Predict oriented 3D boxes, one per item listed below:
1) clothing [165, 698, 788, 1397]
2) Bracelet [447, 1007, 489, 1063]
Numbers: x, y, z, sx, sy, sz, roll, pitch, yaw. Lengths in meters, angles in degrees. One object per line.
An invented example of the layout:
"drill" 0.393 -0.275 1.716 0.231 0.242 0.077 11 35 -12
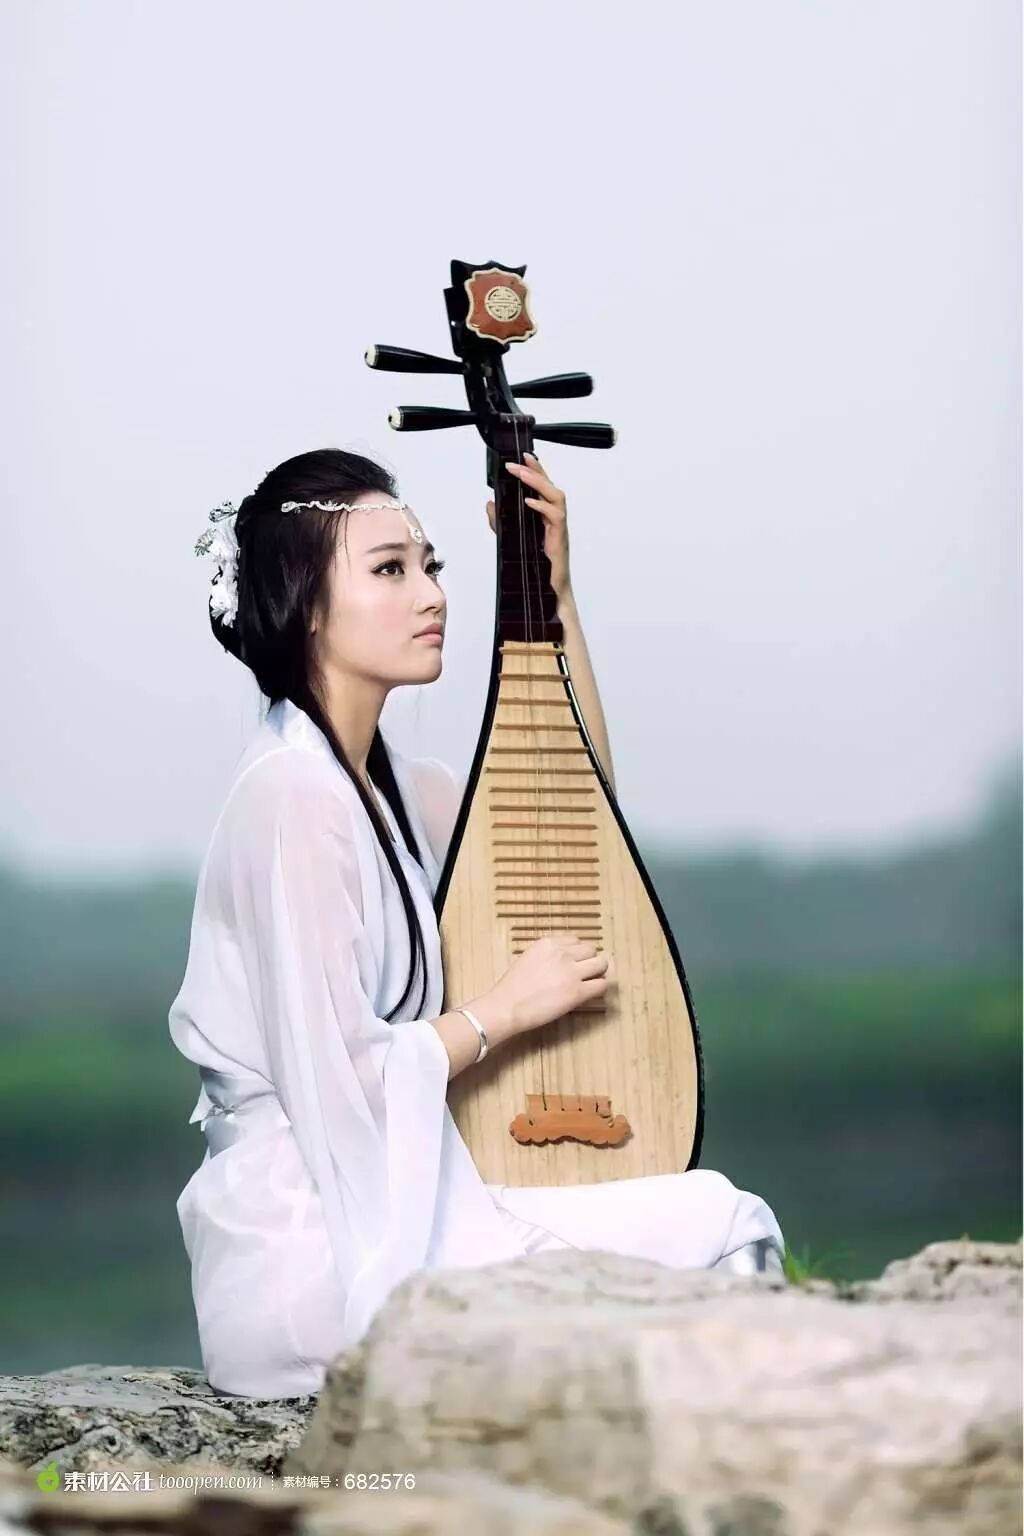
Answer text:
"clothing" -0.198 0.380 2.391 0.563 0.864 0.249 -4 -4 -12
"Bracelet" -0.039 0.312 2.436 0.022 0.057 0.048 -38 9 6
